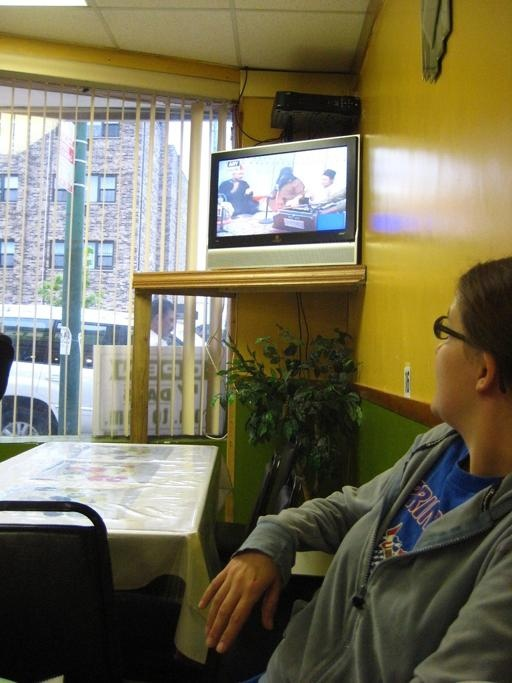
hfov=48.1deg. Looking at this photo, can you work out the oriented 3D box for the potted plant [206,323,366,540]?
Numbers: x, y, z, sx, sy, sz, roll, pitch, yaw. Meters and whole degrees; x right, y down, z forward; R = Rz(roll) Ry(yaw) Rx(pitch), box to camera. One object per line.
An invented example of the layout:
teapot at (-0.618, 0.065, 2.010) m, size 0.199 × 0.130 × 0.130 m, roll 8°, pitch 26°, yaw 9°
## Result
potted plant at (0.185, 0.472, 2.771) m, size 0.520 × 0.883 × 0.584 m, roll -3°, pitch -3°, yaw 13°
